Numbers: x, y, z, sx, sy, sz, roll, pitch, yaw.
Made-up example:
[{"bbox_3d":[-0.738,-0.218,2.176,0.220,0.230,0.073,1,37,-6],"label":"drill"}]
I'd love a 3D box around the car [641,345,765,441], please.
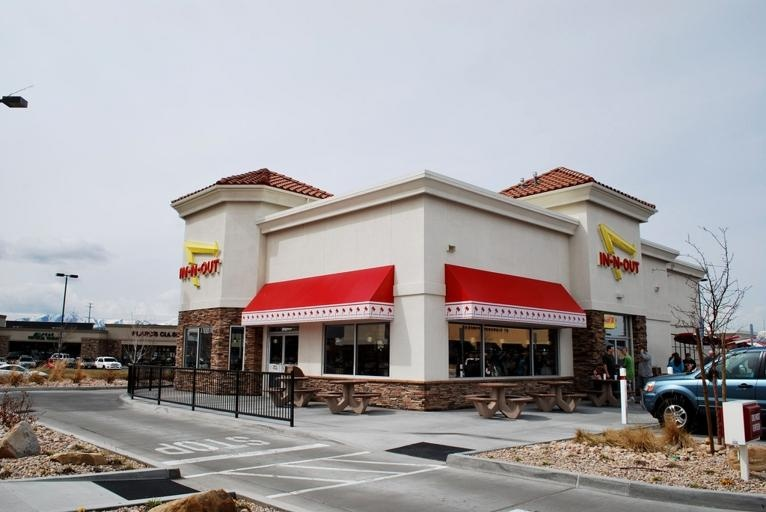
[{"bbox_3d":[9.536,3.965,16.565,3.188,2.430,0.829,-12,-18,39],"label":"car"}]

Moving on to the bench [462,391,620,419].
[{"bbox_3d":[5.284,5.459,20.737,2.263,1.009,4.541,-12,-19,40],"label":"bench"}]

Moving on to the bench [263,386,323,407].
[{"bbox_3d":[-3.284,5.048,20.063,1.831,0.459,1.784,9,-16,-43],"label":"bench"}]

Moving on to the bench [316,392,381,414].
[{"bbox_3d":[-1.471,5.619,21.378,1.859,0.798,2.043,1,-14,-6],"label":"bench"}]

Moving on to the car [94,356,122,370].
[{"bbox_3d":[-30.516,11.790,62.044,2.009,1.480,5.691,9,-17,-32],"label":"car"}]

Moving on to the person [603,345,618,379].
[{"bbox_3d":[10.149,4.724,25.050,0.531,1.525,1.923,-6,-15,23],"label":"person"}]
